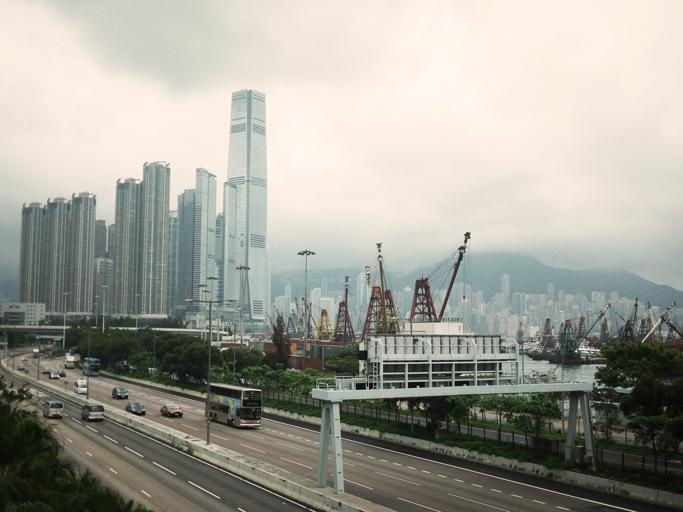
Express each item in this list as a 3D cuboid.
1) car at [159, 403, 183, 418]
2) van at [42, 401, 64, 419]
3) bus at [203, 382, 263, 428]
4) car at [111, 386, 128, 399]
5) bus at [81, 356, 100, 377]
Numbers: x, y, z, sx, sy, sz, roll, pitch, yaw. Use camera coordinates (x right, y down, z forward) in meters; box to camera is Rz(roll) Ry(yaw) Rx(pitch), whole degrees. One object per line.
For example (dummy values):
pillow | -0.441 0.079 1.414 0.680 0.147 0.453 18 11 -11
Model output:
car | -24.638 22.565 116.206 2.765 1.699 4.039 3 -7 -18
van | -39.550 21.181 110.109 1.732 1.679 2.887 2 1 -34
bus | -15.357 21.331 114.350 3.397 5.259 11.575 5 -6 -33
car | -36.214 22.579 131.139 1.585 1.413 2.806 5 7 -28
bus | -50.433 22.832 162.653 3.279 3.898 6.296 3 0 -32
